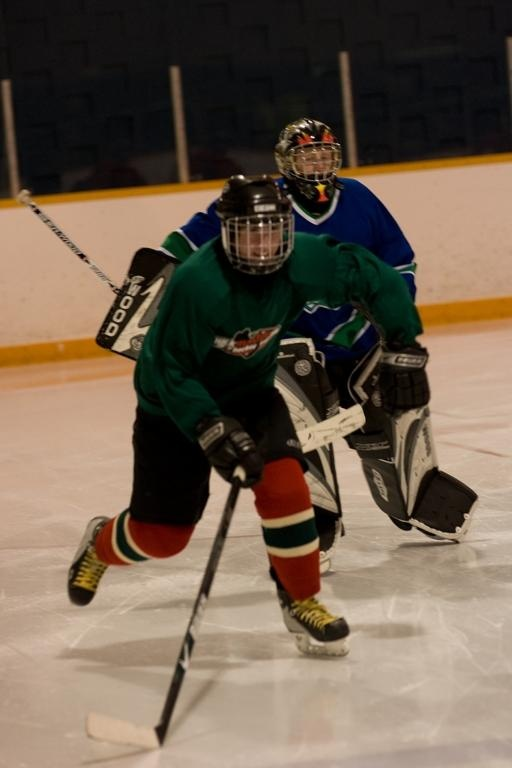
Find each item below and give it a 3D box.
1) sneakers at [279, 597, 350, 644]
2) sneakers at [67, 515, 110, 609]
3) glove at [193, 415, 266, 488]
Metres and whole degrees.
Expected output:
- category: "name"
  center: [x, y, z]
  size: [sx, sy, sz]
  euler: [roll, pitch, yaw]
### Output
- category: "sneakers"
  center: [0.111, 0.461, 1.528]
  size: [0.058, 0.091, 0.163]
  euler: [-12, 4, -37]
- category: "sneakers"
  center: [-0.387, 0.428, 1.874]
  size: [0.080, 0.234, 0.101]
  euler: [23, -31, -22]
- category: "glove"
  center: [-0.039, 0.114, 1.320]
  size: [0.104, 0.126, 0.056]
  euler: [-36, 1, 23]
